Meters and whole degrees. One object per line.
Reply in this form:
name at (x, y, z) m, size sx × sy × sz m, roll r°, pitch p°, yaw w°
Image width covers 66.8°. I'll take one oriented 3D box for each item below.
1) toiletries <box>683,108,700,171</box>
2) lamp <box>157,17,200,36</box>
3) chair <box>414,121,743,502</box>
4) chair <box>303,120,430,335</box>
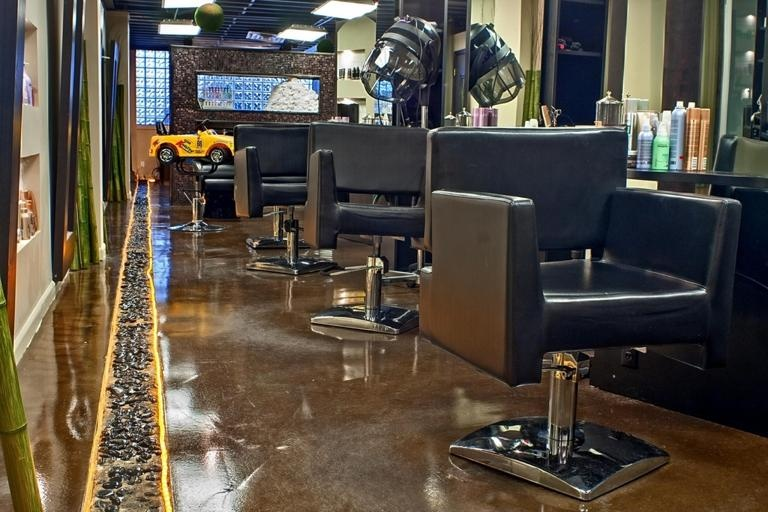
toiletries at (1.360, -0.525, 2.585) m, size 0.057 × 0.225 × 0.047 m, roll 2°, pitch 9°, yaw 17°
lamp at (-4.084, -4.538, 11.661) m, size 0.685 × 0.169 × 1.660 m, roll -3°, pitch 12°, yaw -21°
chair at (0.564, 0.142, 1.925) m, size 0.887 × 1.103 × 0.660 m, roll -3°, pitch 13°, yaw -17°
chair at (-0.123, -0.192, 3.416) m, size 0.705 × 1.120 × 0.799 m, roll 2°, pitch 12°, yaw 3°
